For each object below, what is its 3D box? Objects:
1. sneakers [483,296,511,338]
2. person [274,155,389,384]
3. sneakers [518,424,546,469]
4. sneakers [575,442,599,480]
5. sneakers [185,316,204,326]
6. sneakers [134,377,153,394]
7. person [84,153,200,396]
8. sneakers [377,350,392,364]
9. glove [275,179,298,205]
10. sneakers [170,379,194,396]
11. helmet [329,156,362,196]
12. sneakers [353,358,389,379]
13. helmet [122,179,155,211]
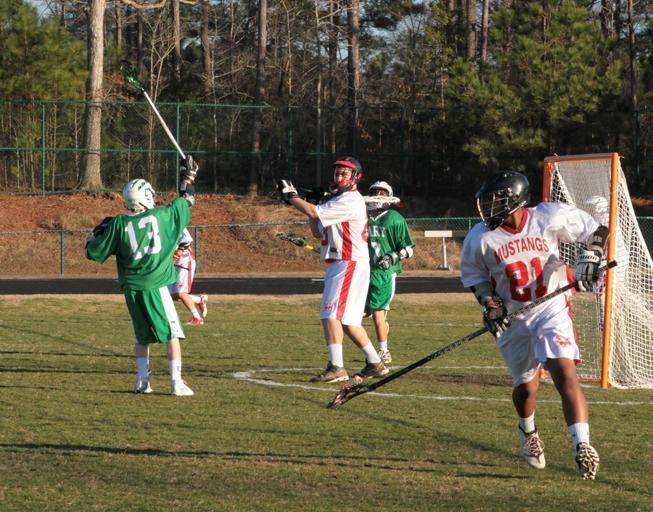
[{"bbox_3d":[1.784,0.637,11.839,0.283,0.399,0.162,-26,-7,-43],"label":"sneakers"},{"bbox_3d":[0.153,0.214,14.385,1.227,2.890,0.761,-2,10,-6],"label":"person"},{"bbox_3d":[2.188,2.093,11.931,0.202,0.519,0.202,-14,-22,4],"label":"sneakers"},{"bbox_3d":[2.632,2.101,11.366,0.221,0.375,0.120,-16,-3,5],"label":"sneakers"},{"bbox_3d":[-2.180,1.088,18.360,0.281,0.126,0.124,2,6,8],"label":"sneakers"},{"bbox_3d":[-2.278,1.632,13.844,0.115,0.139,0.303,2,-18,-1],"label":"sneakers"},{"bbox_3d":[-2.310,0.298,14.022,1.452,3.086,0.910,-1,4,-9],"label":"person"},{"bbox_3d":[0.776,1.398,15.299,0.129,0.159,0.335,-1,-10,8],"label":"sneakers"},{"bbox_3d":[-0.528,-0.825,14.158,0.229,0.323,0.145,-25,-7,-38],"label":"glove"},{"bbox_3d":[-1.790,1.644,13.806,0.332,0.235,0.126,-2,5,-27],"label":"sneakers"},{"bbox_3d":[0.249,-1.031,14.625,0.468,0.462,0.374,8,-6,-41],"label":"helmet"},{"bbox_3d":[0.596,1.483,14.571,0.501,0.240,0.185,-3,5,-7],"label":"sneakers"},{"bbox_3d":[-2.356,-0.723,13.898,0.343,0.431,0.437,-5,-3,0],"label":"helmet"}]
